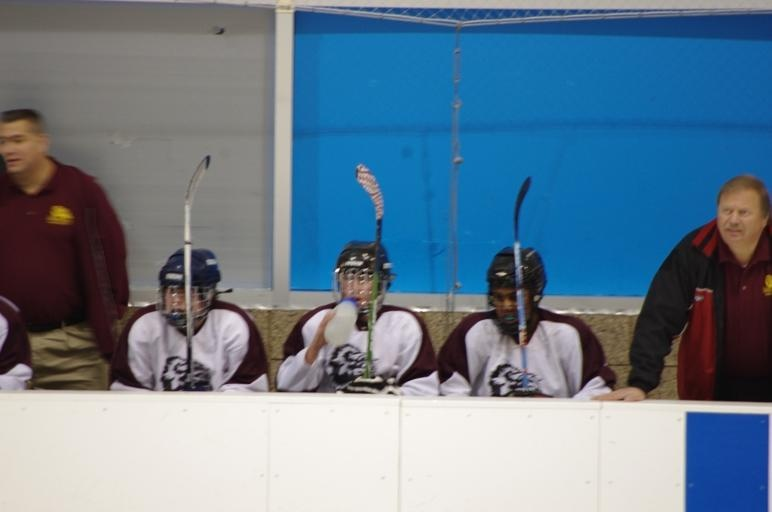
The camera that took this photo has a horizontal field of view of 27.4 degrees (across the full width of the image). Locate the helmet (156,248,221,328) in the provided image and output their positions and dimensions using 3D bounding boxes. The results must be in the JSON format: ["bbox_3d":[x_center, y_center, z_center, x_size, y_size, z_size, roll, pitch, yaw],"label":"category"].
[{"bbox_3d":[-1.139,0.152,9.284,0.352,0.368,0.429,-1,5,21],"label":"helmet"}]

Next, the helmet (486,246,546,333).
[{"bbox_3d":[0.762,0.181,9.256,0.391,0.477,0.391,-7,5,6],"label":"helmet"}]
